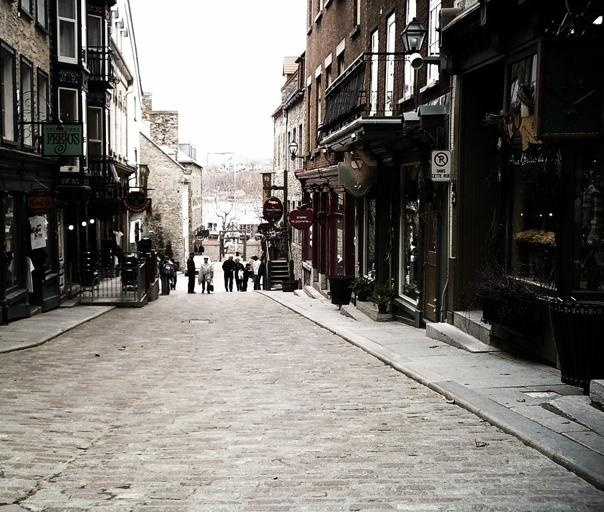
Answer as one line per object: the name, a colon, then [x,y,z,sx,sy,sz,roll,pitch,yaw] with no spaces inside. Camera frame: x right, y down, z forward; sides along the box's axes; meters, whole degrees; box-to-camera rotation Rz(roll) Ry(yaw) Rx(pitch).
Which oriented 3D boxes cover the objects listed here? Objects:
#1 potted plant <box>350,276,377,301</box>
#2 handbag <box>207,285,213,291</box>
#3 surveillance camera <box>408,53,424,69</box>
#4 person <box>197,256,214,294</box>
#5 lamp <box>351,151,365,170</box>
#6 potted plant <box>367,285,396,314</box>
potted plant: [1.812,0.909,19.884,0.521,0.702,0.606,1,-5,1]
handbag: [-4.556,1.582,34.594,0.313,0.441,0.327,-1,8,-23]
surveillance camera: [2.155,-3.672,12.850,0.222,0.309,0.329,0,2,15]
person: [-4.735,0.929,33.982,0.629,1.930,0.480,2,23,-5]
lamp: [1.575,-2.675,19.138,0.296,0.508,0.132,-3,7,17]
potted plant: [2.124,1.098,17.879,0.511,0.737,0.616,0,-4,-6]
